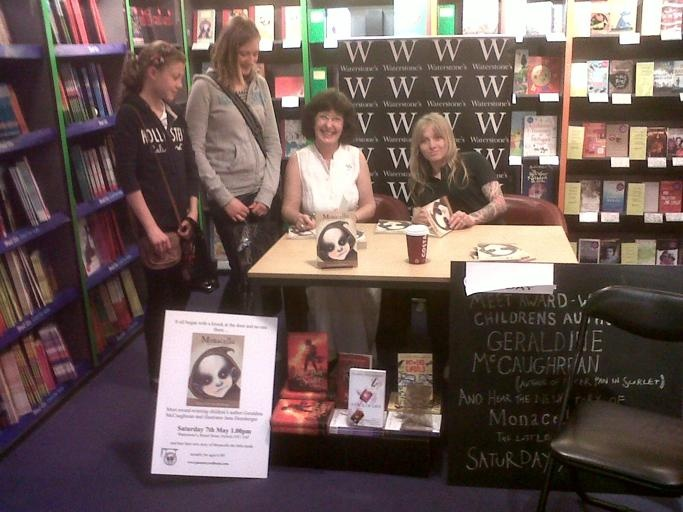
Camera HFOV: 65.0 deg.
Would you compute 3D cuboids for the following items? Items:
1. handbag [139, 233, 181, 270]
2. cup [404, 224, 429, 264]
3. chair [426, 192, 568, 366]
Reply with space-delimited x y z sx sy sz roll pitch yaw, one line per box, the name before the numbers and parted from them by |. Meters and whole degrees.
handbag | -1.067 -0.041 3.178 0.265 0.270 0.148 -1 0 -37
cup | 0.384 -0.078 2.686 0.099 0.191 0.188 2 20 10
chair | 0.949 0.078 4.002 0.866 1.277 1.069 0 6 8
